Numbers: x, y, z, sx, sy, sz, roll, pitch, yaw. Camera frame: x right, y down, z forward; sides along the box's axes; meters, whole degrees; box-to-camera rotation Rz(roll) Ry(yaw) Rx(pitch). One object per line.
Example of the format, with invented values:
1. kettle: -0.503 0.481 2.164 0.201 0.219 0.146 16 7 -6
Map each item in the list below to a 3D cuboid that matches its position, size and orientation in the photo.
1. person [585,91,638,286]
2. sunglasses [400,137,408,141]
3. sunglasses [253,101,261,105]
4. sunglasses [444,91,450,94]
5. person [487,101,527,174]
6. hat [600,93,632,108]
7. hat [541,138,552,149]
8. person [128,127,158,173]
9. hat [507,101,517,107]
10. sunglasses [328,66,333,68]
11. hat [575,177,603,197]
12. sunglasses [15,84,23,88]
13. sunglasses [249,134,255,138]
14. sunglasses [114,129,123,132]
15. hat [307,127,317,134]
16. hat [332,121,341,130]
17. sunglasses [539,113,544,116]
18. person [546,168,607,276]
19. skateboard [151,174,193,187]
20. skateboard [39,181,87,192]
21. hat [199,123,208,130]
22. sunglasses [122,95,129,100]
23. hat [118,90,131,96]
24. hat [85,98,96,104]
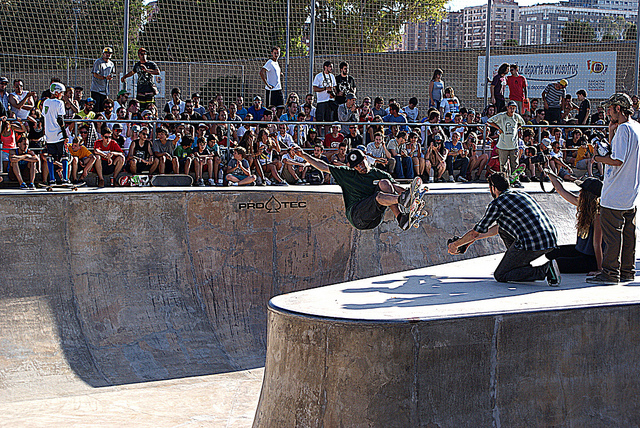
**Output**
1. person: 5.334 -0.451 17.107 0.819 3.319 0.447 -8 9 -31
2. sunglasses: 2.045 -1.840 23.251 0.086 0.114 0.209 4 12 37
3. sunglasses: -1.582 -2.830 24.204 0.116 0.070 0.070 -4 9 -1
4. sunglasses: 3.450 -3.293 25.867 0.153 0.069 0.047 4 11 36
5. person: 4.554 -1.713 23.119 0.816 2.003 0.500 0 1 14
6. hat: 5.374 -2.040 17.151 0.374 0.243 0.261 2 1 17
7. hat: 5.850 -1.826 24.618 0.259 0.275 0.243 -4 9 -5
8. person: -4.118 -1.441 22.391 0.641 1.232 0.718 1 7 -6
9. hat: 4.689 -2.686 23.179 0.151 0.134 0.375 3 12 34
10. sunglasses: 0.264 -3.711 24.028 0.076 0.028 0.082 5 6 24
11. hat: 4.890 -0.548 17.356 0.392 0.177 0.264 32 18 34
12. sunglasses: -7.241 -3.090 23.039 0.096 0.063 0.204 2 11 32
13. sunglasses: -1.606 -1.877 22.820 0.058 0.072 0.194 1 11 25
14. sunglasses: -4.722 -1.961 22.340 0.113 0.041 0.085 -3 -11 40
15. hat: -0.176 -2.078 23.486 0.183 0.136 0.214 -4 9 -3
16. hat: 0.455 -2.194 23.551 0.173 0.228 0.399 2 11 28
17. sunglasses: 6.262 -2.799 26.898 0.151 0.039 0.076 -10 11 -32
18. person: 4.764 0.185 17.995 1.307 2.315 1.105 3 4 22
19. skateboard: -3.443 -0.797 22.277 0.951 0.317 0.089 -6 8 -11
20. skateboard: -5.718 -0.611 21.116 0.878 0.192 0.236 0 3 1
21. hat: -2.788 -2.102 22.950 0.185 0.181 0.605 -4 10 -6
22. sunglasses: -4.947 -2.983 24.307 0.103 0.038 0.080 30 -2 32
23. hat: -5.006 -3.099 24.287 0.186 0.085 0.138 -6 -2 11
24. hat: -5.679 -2.814 23.602 0.203 0.086 0.127 -2 5 -38
